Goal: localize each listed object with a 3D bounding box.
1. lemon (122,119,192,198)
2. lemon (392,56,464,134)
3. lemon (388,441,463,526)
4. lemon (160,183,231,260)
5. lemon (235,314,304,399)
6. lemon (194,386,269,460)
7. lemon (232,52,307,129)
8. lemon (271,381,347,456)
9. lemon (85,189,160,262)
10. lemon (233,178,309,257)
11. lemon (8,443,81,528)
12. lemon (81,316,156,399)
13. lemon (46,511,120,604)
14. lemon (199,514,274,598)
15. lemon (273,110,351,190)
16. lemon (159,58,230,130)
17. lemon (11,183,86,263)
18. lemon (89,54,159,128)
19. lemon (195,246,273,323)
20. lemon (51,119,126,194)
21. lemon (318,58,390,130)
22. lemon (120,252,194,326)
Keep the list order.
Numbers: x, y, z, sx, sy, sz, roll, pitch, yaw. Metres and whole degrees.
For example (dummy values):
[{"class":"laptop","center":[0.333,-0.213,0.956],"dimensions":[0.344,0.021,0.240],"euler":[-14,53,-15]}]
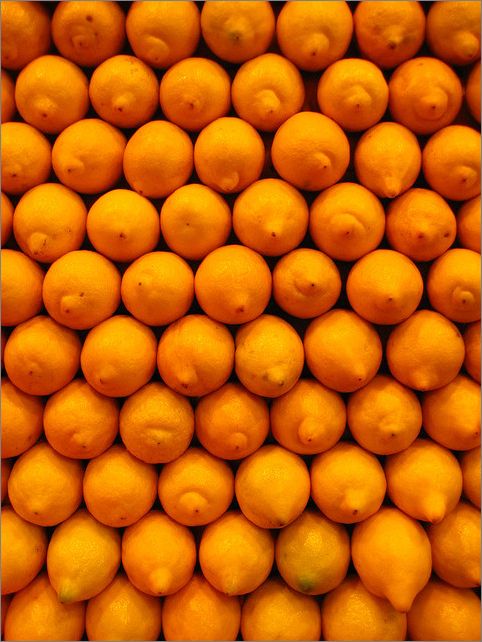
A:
[{"class":"lemon","center":[-0.176,-0.326,1.424],"dimensions":[0.126,0.128,0.172],"euler":[12,72,-19]},{"class":"lemon","center":[0.379,-0.489,1.408],"dimensions":[0.150,0.158,0.181],"euler":[2,24,11]},{"class":"lemon","center":[0.385,0.340,1.423],"dimensions":[0.131,0.136,0.177],"euler":[-35,62,30]},{"class":"lemon","center":[-0.095,-0.207,1.426],"dimensions":[0.147,0.150,0.153],"euler":[3,29,3]},{"class":"lemon","center":[0.055,0.081,1.387],"dimensions":[0.120,0.130,0.171],"euler":[8,44,-18]},{"class":"lemon","center":[-0.015,0.206,1.347],"dimensions":[0.124,0.130,0.162],"euler":[-4,30,-4]},{"class":"lemon","center":[0.063,-0.486,1.419],"dimensions":[0.149,0.155,0.181],"euler":[-12,20,3]},{"class":"lemon","center":[0.142,0.194,1.393],"dimensions":[0.128,0.160,0.128],"euler":[-26,101,13]},{"class":"lemon","center":[-0.236,-0.194,1.374],"dimensions":[0.138,0.145,0.150],"euler":[-4,95,0]},{"class":"lemon","center":[0.067,-0.235,1.394],"dimensions":[0.151,0.158,0.184],"euler":[-15,14,3]},{"class":"lemon","center":[-0.411,0.344,1.412],"dimensions":[0.127,0.136,0.179],"euler":[-17,87,17]},{"class":"lemon","center":[-0.237,0.062,1.369],"dimensions":[0.128,0.131,0.174],"euler":[-6,93,17]},{"class":"lemon","center":[-0.339,0.504,1.416],"dimensions":[0.133,0.140,0.190],"euler":[8,59,-25]},{"class":"lemon","center":[-0.003,0.480,1.388],"dimensions":[0.128,0.135,0.179],"euler":[-13,81,24]},{"class":"lemon","center":[0.137,-0.354,1.419],"dimensions":[0.148,0.158,0.178],"euler":[1,39,-1]},{"class":"lemon","center":[-0.079,-0.475,1.451],"dimensions":[0.142,0.169,0.151],"euler":[-20,97,7]},{"class":"lemon","center":[-0.399,-0.208,1.379],"dimensions":[0.131,0.136,0.179],"euler":[-3,98,-9]},{"class":"lemon","center":[-0.227,-0.509,1.447],"dimensions":[0.142,0.153,0.169],"euler":[-11,23,5]},{"class":"lemon","center":[-0.011,-0.067,1.384],"dimensions":[0.136,0.160,0.161],"euler":[-12,40,-5]},{"class":"lemon","center":[-0.330,-0.361,1.432],"dimensions":[0.168,0.144,0.117],"euler":[-20,58,-12]},{"class":"lemon","center":[0.238,-0.482,1.429],"dimensions":[0.136,0.147,0.143],"euler":[-12,16,9]},{"class":"lemon","center":[-0.162,-0.057,1.336],"dimensions":[0.138,0.139,0.150],"euler":[-1,86,5]}]
